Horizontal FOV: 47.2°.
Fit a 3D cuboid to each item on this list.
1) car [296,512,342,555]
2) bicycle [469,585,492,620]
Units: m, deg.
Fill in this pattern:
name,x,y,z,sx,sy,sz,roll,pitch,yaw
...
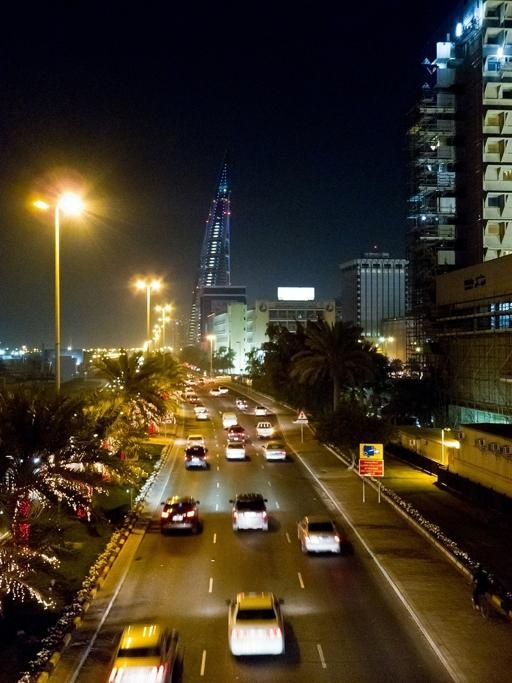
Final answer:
name,x,y,z,sx,sy,sz,roll,pitch,yaw
car,2.145,6.825,20.427,1.417,1.174,1.299,0,-2,11
bicycle,5.836,6.834,15.338,0.351,0.583,0.807,1,-2,7
